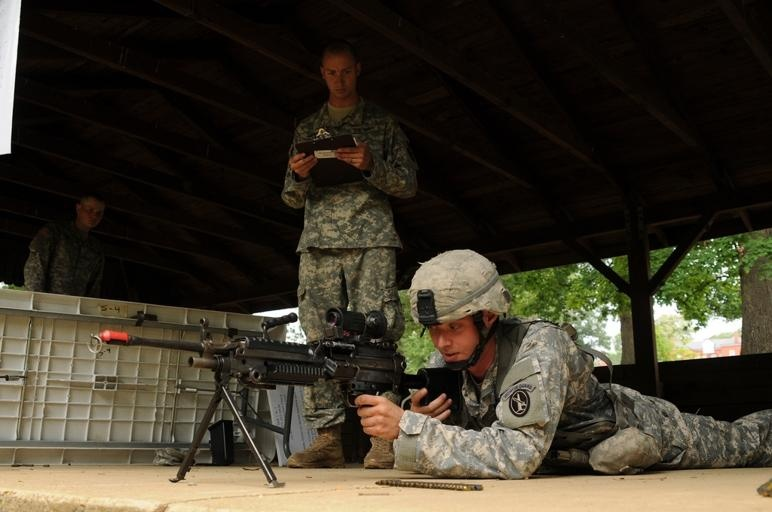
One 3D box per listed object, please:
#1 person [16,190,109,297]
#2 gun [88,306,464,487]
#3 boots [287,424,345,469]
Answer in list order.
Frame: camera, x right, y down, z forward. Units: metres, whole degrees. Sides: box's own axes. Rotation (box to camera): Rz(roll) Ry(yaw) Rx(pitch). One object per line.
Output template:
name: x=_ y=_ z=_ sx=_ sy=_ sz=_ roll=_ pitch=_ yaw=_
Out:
person: x=-3.953 y=-0.126 z=8.740 sx=0.646 sy=1.249 sz=0.884 roll=-6 pitch=-15 yaw=21
gun: x=-0.665 y=1.050 z=5.065 sx=2.978 sy=1.028 sz=1.121 roll=5 pitch=-32 yaw=-28
boots: x=-0.664 y=1.702 z=6.146 sx=0.256 sy=0.391 sz=0.681 roll=-15 pitch=-21 yaw=36
